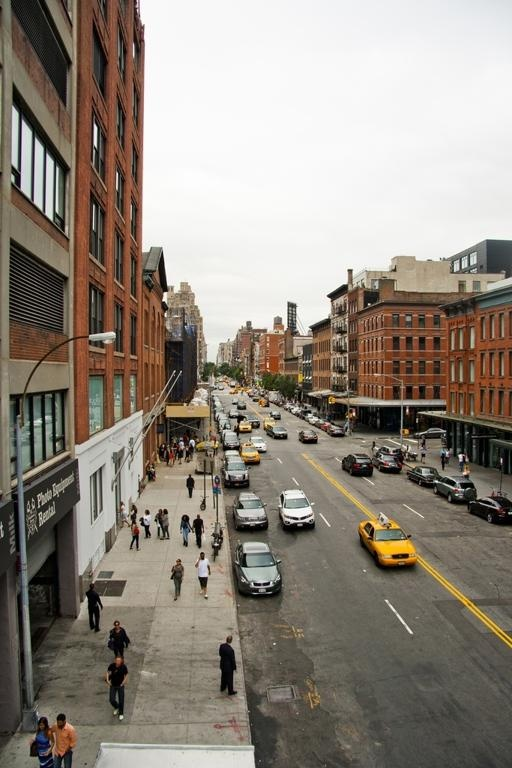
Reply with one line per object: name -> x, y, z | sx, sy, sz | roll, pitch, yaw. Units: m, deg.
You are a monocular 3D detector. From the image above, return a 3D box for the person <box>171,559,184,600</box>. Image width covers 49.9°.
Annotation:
person -> -2.348, 5.652, 16.301 | 0.284, 1.282, 1.198 | 0, 0, -10

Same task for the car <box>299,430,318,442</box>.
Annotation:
car -> 5.351, 5.440, 56.251 | 1.457, 1.131, 2.063 | 0, 0, -18

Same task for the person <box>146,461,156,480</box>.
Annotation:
person -> -6.789, 5.644, 34.918 | 0.311, 0.936, 0.735 | -1, -3, 26

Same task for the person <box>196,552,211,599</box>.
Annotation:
person -> -1.636, 5.699, 16.785 | 0.344, 1.305, 1.246 | 0, 0, -7

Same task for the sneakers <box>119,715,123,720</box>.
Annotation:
sneakers -> -2.432, 5.940, 9.832 | 0.057, 0.051, 0.108 | 0, 0, -18

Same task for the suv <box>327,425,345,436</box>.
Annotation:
suv -> 9.084, 5.381, 62.907 | 1.520, 1.131, 2.677 | 0, 0, -9

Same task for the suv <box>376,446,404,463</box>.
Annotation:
suv -> 10.491, 5.423, 42.868 | 1.262, 1.220, 3.191 | 2, 4, 1

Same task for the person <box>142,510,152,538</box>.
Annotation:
person -> -4.546, 5.727, 22.708 | 0.323, 1.202, 1.115 | 0, 0, -9

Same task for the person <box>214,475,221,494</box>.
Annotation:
person -> -2.008, 5.083, 28.009 | 0.410, 0.735, 1.103 | -1, -4, -2

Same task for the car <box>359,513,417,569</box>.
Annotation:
car -> 4.633, 5.632, 19.744 | 0.933, 1.150, 2.407 | 0, -3, -5

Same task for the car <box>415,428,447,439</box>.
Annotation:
car -> 19.085, 5.352, 59.499 | 2.690, 1.153, 1.334 | 3, -4, -6

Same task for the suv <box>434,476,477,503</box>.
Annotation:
suv -> 11.035, 5.777, 30.392 | 0.918, 1.018, 2.272 | 1, 5, -3

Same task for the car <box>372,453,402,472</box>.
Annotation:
car -> 9.468, 5.731, 39.516 | 1.774, 1.221, 1.320 | 0, 0, 33

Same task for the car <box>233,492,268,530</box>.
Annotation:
car -> -0.279, 5.802, 24.640 | 1.383, 1.127, 2.057 | 0, 0, -6

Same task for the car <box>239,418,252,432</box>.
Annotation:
car -> -1.255, 4.859, 65.119 | 1.014, 1.000, 2.591 | -1, -1, -5

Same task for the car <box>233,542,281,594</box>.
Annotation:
car -> 0.042, 5.833, 17.195 | 1.315, 1.086, 1.938 | 0, 0, -8

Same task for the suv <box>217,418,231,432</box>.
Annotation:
suv -> -3.853, 4.789, 64.330 | 0.977, 1.130, 1.920 | -2, -5, -7

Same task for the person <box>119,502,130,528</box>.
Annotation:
person -> -5.943, 5.786, 24.717 | 0.311, 1.158, 1.411 | 0, 0, -7

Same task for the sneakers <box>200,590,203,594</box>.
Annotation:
sneakers -> -1.673, 6.289, 16.681 | 0.079, 0.045, 0.155 | -3, 5, -1

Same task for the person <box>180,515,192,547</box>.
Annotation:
person -> -2.767, 5.653, 21.495 | 0.277, 1.302, 1.237 | 0, 0, -10

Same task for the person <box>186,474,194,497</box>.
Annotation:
person -> -3.626, 5.587, 30.084 | 0.354, 1.183, 1.601 | 0, 0, -10

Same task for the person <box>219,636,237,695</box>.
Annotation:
person -> -0.552, 5.617, 10.932 | 0.321, 1.050, 0.355 | 0, 1, -5

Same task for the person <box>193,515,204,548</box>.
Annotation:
person -> -2.262, 5.684, 21.245 | 0.352, 1.273, 1.089 | 0, 1, -9

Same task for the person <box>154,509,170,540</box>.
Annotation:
person -> -3.854, 5.660, 22.519 | 0.572, 1.298, 1.477 | 0, 0, -8

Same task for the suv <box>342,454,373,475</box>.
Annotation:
suv -> 7.019, 5.535, 38.095 | 0.915, 0.984, 2.244 | 0, 6, -4

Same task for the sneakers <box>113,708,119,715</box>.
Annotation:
sneakers -> -2.572, 5.943, 10.025 | 0.053, 0.079, 0.165 | 2, -9, -9

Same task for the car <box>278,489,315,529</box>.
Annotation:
car -> 1.773, 5.717, 24.632 | 1.315, 1.261, 2.159 | 0, 0, -4

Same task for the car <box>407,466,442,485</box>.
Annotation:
car -> 10.616, 5.830, 34.724 | 0.791, 0.835, 2.193 | 2, 5, -1
